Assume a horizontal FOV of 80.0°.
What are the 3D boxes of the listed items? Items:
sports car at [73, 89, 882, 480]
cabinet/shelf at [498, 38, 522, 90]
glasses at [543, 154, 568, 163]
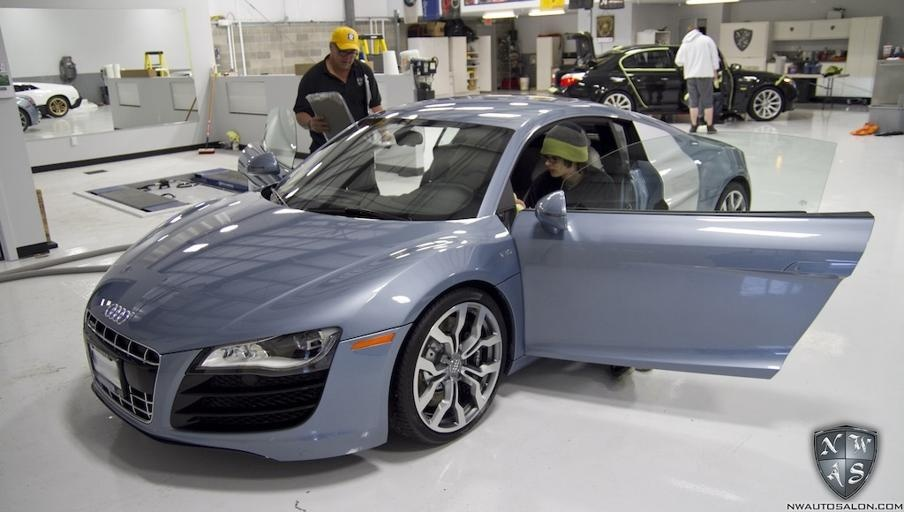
[{"bbox_3d":[0.001,0.123,3.673,4.431,2.099,1.405,-3,20,-7],"label":"sports car"},{"bbox_3d":[2.474,-8.549,23.661,0.968,2.172,0.994,3,20,9],"label":"cabinet/shelf"},{"bbox_3d":[0.738,-0.713,3.864,0.121,0.030,0.090,-4,30,-8],"label":"glasses"}]
